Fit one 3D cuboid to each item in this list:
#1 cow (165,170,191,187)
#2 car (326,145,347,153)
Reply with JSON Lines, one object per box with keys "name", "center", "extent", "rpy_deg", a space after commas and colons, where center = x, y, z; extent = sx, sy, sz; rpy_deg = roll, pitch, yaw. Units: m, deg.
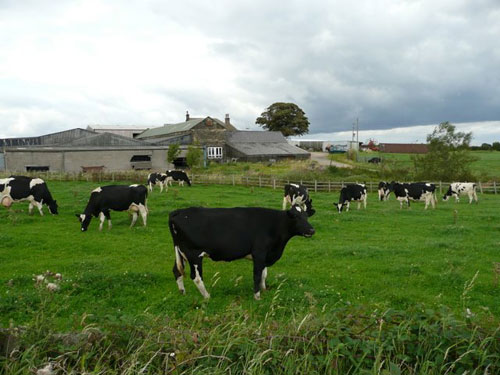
{"name": "cow", "center": [-6.130, -0.791, 34.487], "extent": [1.809, 1.317, 4.216], "rpy_deg": [-2, 3, -13]}
{"name": "car", "center": [17.914, -7.711, 82.169], "extent": [3.154, 1.110, 2.131], "rpy_deg": [-4, 12, -23]}
